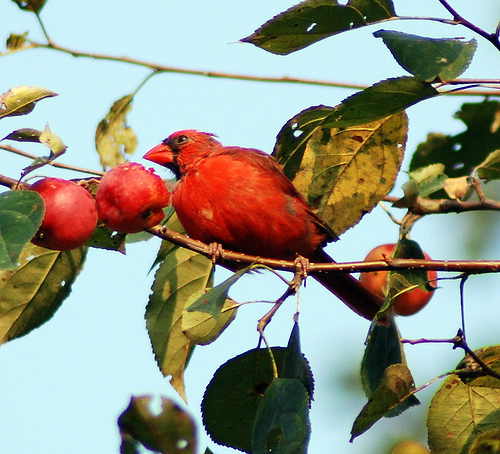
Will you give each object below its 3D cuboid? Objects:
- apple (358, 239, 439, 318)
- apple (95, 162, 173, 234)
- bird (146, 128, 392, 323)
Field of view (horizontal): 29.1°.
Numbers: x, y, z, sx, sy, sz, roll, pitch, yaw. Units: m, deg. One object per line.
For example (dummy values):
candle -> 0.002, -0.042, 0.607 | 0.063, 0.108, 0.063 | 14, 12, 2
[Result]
apple -> 0.786, 0.275, 5.064 | 0.311, 0.377, 0.331 | 19, -10, 37
apple -> -0.611, -0.138, 4.864 | 0.380, 0.406, 0.420 | 9, -4, -26
bird -> 0.390, -0.167, 5.815 | 2.121, 0.952, 0.704 | 14, -34, 2
